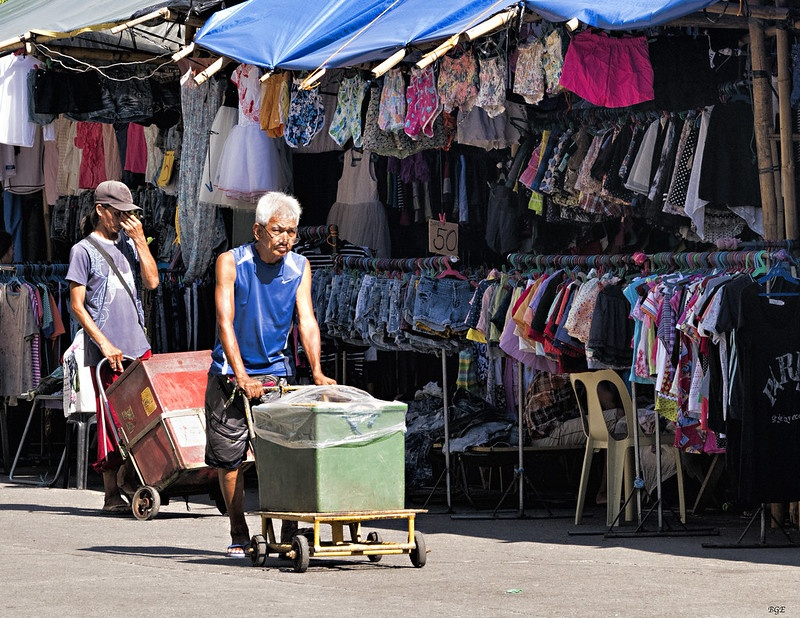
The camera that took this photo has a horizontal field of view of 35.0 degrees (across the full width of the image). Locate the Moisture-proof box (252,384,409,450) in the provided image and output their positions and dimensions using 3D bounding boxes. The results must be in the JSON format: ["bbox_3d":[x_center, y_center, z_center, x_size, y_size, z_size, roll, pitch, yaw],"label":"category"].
[{"bbox_3d":[-0.427,0.643,7.457,0.911,0.368,0.409,2,-1,-5],"label":"Moisture-proof box"}]

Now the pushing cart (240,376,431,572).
[{"bbox_3d":[-0.474,1.022,7.681,1.109,1.153,0.936,-4,-4,43],"label":"pushing cart"}]

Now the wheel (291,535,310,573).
[{"bbox_3d":[-0.592,1.443,7.439,0.100,0.215,0.113,1,-1,-8],"label":"wheel"}]

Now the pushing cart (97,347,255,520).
[{"bbox_3d":[-1.806,0.973,10.009,0.942,1.131,0.990,-21,-12,-5],"label":"pushing cart"}]

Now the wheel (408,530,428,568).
[{"bbox_3d":[0.103,1.455,7.668,0.135,0.222,0.181,-4,10,-8],"label":"wheel"}]

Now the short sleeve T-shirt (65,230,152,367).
[{"bbox_3d":[-2.262,-0.088,10.048,0.641,1.057,0.345,-14,32,-24],"label":"short sleeve T-shirt"}]
